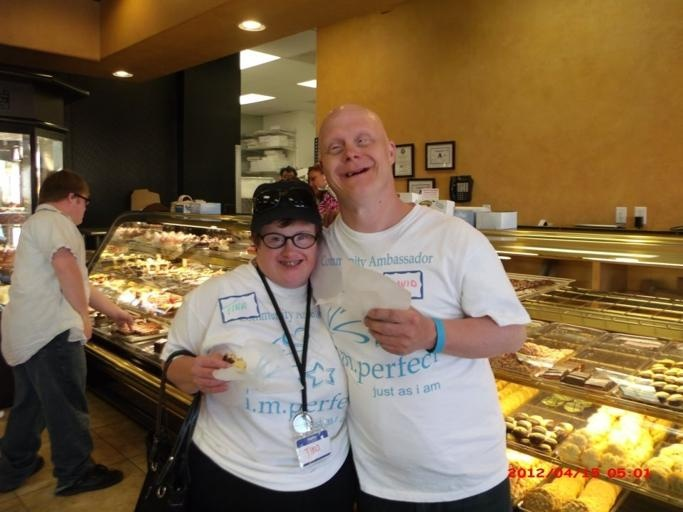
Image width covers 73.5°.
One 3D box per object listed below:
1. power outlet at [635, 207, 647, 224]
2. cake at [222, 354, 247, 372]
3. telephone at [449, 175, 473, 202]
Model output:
[{"bbox_3d":[2.843,-0.391,4.334,0.108,0.168,0.162,2,9,31],"label":"power outlet"},{"bbox_3d":[-0.359,0.358,1.546,0.041,0.024,0.064,-33,30,-20],"label":"cake"},{"bbox_3d":[1.401,-0.794,5.366,0.287,0.340,0.125,4,3,32],"label":"telephone"}]
